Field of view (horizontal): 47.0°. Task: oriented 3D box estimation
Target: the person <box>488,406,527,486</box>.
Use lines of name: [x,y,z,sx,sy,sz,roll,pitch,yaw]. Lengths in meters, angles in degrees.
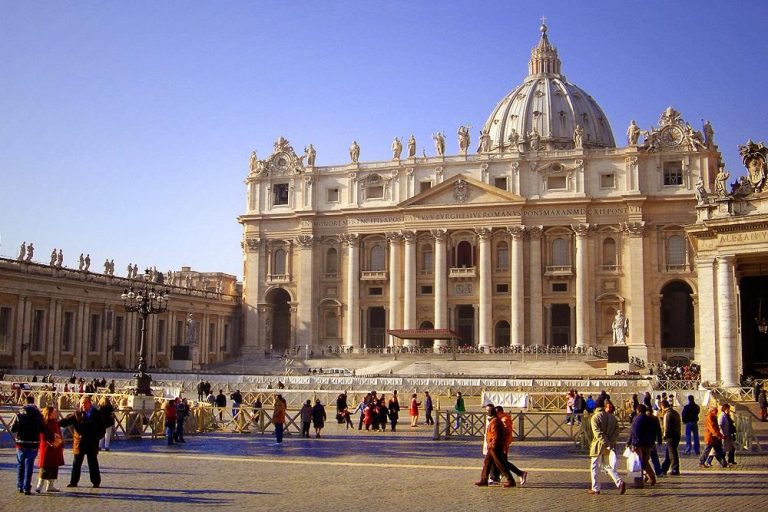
person: [3.702,5.580,26.400,1.111,2.289,1.135,1,0,-4]
